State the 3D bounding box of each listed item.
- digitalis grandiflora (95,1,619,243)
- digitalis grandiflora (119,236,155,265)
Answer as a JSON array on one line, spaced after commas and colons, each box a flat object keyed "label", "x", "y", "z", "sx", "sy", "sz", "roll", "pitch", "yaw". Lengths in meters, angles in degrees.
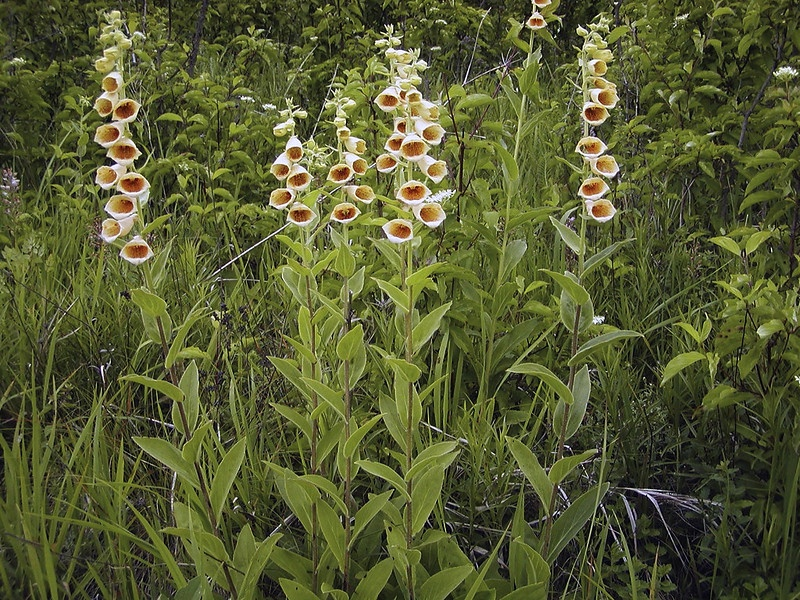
[{"label": "digitalis grandiflora", "x": -0.129, "y": -0.728, "z": 2.611, "sx": 1.842, "sy": 1.069, "sz": 0.957, "roll": 1, "pitch": 11, "yaw": -7}, {"label": "digitalis grandiflora", "x": -0.886, "y": -0.146, "z": 2.210, "sx": 0.087, "sy": 0.038, "sz": 0.094, "roll": 31, "pitch": 58, "yaw": 11}]
